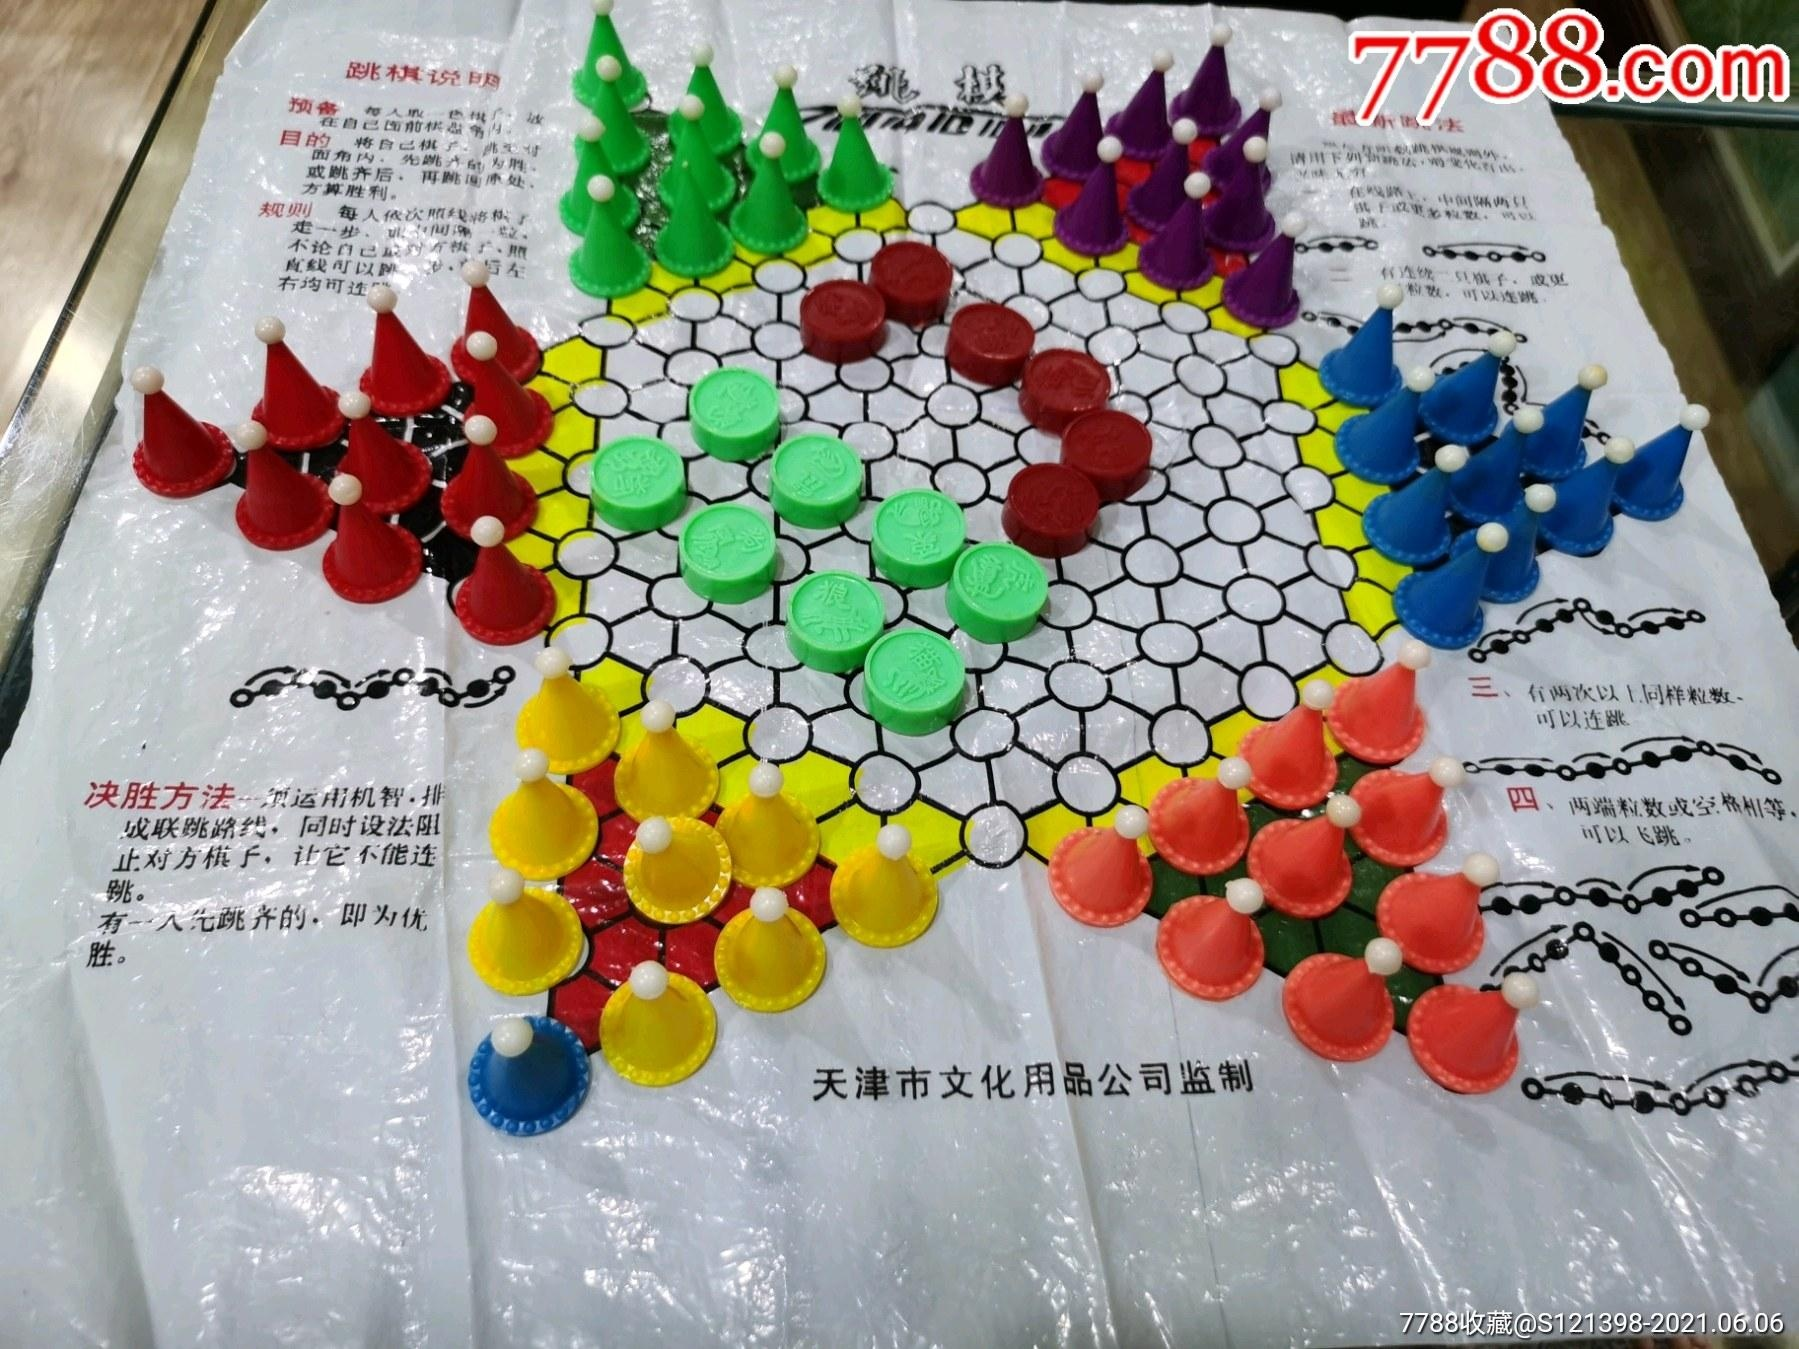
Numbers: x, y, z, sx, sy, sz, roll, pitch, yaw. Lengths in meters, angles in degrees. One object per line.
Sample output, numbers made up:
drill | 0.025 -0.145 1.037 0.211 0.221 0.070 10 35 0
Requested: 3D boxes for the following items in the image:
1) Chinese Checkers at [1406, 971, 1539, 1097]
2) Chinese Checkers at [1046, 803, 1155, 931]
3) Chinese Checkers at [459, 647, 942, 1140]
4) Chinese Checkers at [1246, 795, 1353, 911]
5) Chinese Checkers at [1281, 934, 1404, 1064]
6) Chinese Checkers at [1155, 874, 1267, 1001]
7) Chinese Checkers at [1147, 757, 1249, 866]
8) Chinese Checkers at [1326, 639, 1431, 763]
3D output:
Chinese Checkers | 1.065 0.688 2.824 0.222 0.154 0.168 37 76 11
Chinese Checkers | 0.384 0.393 2.954 0.187 0.242 0.239 3 64 -7
Chinese Checkers | -0.471 0.456 2.896 0.887 0.252 0.833 43 65 12
Chinese Checkers | 0.786 0.360 2.969 0.118 0.151 0.145 -13 64 -7
Chinese Checkers | 0.839 0.628 2.871 0.127 0.144 0.128 42 71 13
Chinese Checkers | 0.596 0.517 2.903 0.121 0.149 0.145 -15 63 -16
Chinese Checkers | 0.594 0.298 2.983 0.201 0.133 0.174 9 72 3
Chinese Checkers | 0.984 0.066 3.114 0.123 0.154 0.143 -24 67 -11
